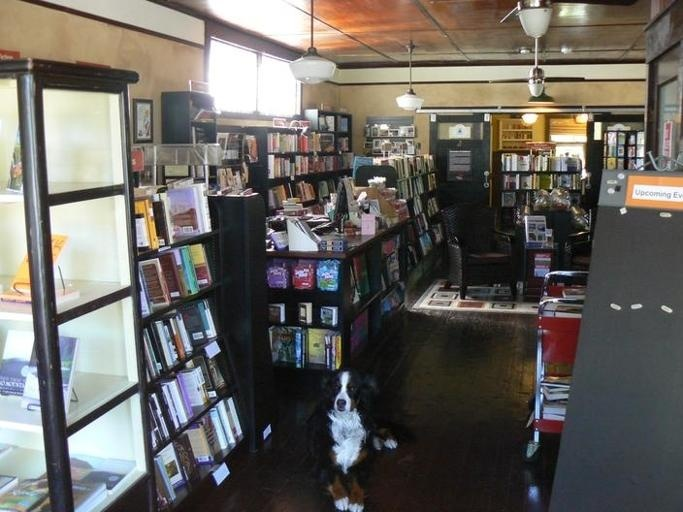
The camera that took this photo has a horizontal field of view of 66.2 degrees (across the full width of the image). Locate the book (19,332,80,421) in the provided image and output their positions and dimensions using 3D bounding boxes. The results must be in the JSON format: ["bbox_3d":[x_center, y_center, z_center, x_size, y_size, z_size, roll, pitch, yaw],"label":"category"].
[{"bbox_3d":[-1.235,0.506,2.193,0.340,0.422,0.039,3,4,12],"label":"book"}]

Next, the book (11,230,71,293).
[{"bbox_3d":[-1.289,0.028,2.242,0.227,0.242,0.436,-8,14,-28],"label":"book"}]
